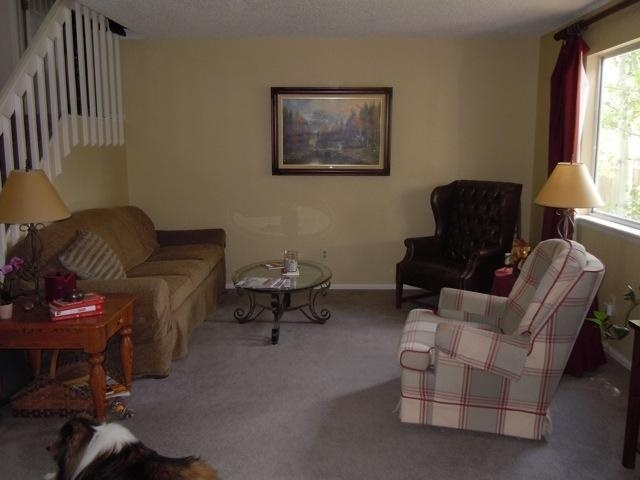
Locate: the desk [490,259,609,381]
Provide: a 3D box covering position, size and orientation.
[{"bbox_3d":[1.894,0.683,4.112,0.771,0.732,0.801,2,23,3],"label":"desk"}]

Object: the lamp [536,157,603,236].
[{"bbox_3d":[2.048,-0.291,4.068,0.478,0.738,0.503,-3,17,3],"label":"lamp"}]

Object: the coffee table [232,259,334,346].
[{"bbox_3d":[-0.382,0.509,4.747,0.781,0.420,0.816,2,11,9],"label":"coffee table"}]

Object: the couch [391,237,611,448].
[{"bbox_3d":[1.131,0.496,3.659,1.357,1.429,1.231,2,10,14],"label":"couch"}]
